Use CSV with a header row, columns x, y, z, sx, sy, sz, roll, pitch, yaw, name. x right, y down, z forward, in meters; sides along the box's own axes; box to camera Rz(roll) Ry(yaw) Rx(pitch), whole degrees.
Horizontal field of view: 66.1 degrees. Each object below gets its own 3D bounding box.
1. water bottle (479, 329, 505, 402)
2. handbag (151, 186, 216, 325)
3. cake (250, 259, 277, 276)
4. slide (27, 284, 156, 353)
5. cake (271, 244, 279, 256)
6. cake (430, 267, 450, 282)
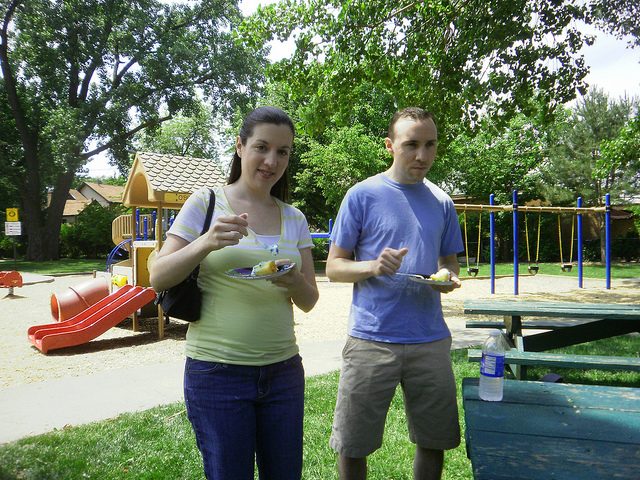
x,y,z,sx,sy,sz,roll,pitch,yaw,name
1.259,0.913,3.634,0.163,0.418,0.329,1,0,18,water bottle
-0.896,0.106,3.125,0.448,0.881,0.336,1,0,9,handbag
-0.347,0.173,3.039,0.152,0.095,0.124,1,0,-20,cake
-3.820,1.385,8.480,1.932,0.759,0.980,-16,17,-38,slide
-0.287,0.071,3.146,0.051,0.057,0.020,13,-6,-4,cake
0.854,0.256,3.528,0.137,0.081,0.189,1,0,13,cake
